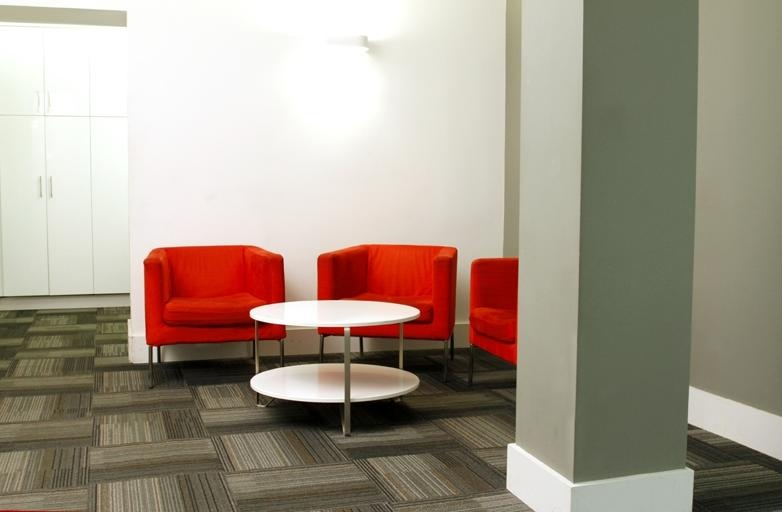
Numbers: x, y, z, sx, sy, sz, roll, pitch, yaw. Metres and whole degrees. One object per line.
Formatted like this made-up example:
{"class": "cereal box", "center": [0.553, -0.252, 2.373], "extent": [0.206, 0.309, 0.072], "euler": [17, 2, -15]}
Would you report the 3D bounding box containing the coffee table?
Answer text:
{"class": "coffee table", "center": [-0.425, 0.650, 4.049], "extent": [0.988, 0.547, 0.946], "euler": [-2, 2, -41]}
